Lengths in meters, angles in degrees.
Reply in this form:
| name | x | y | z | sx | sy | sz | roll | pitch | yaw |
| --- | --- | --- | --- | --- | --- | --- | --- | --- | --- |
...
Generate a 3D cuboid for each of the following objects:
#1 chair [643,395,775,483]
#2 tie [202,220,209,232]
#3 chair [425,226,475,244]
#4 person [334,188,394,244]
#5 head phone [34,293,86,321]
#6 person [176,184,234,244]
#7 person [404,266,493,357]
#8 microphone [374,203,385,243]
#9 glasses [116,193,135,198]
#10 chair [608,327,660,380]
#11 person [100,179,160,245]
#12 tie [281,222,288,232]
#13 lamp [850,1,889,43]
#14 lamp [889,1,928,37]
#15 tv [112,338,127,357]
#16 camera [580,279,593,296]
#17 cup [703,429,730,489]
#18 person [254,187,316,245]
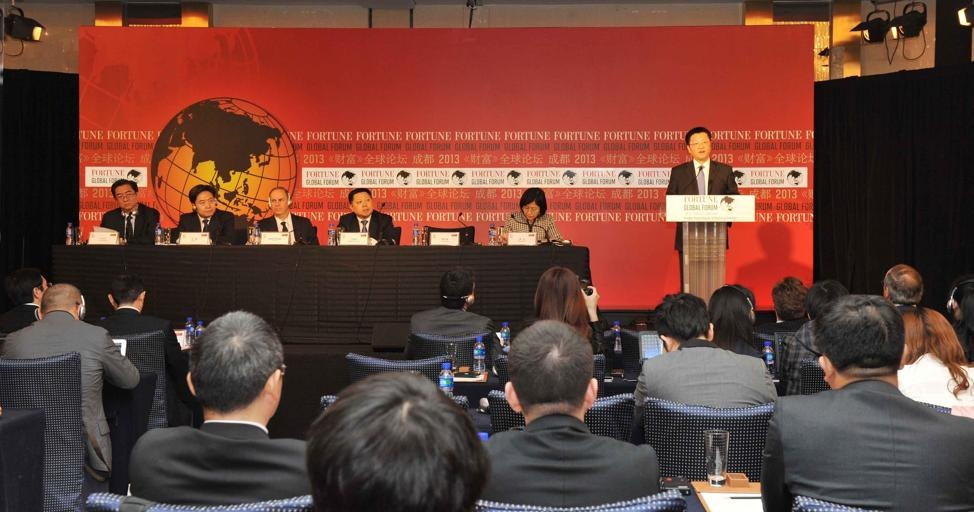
| name | x | y | z | sx | sy | sz | roll | pitch | yaw |
| --- | --- | --- | --- | --- | --- | --- | --- | --- | --- |
| chair | 2.046 | 1.771 | 8.588 | 0.936 | 1.045 | 0.902 | 2 | 1 | 6 |
| tie | -4.087 | -0.431 | 12.866 | 0.073 | 0.257 | 0.083 | 4 | -10 | -7 |
| chair | -0.485 | -0.256 | 11.816 | 0.637 | 0.270 | 0.328 | 1 | -4 | -7 |
| person | -1.698 | -0.517 | 12.955 | 0.695 | 0.525 | 1.074 | -4 | -1 | -17 |
| head phone | -4.605 | 0.619 | 9.740 | 0.431 | 0.246 | 0.538 | -4 | -8 | -16 |
| person | -3.943 | -0.572 | 12.689 | 0.864 | 0.978 | 1.059 | -2 | 0 | -24 |
| person | -0.505 | 0.665 | 10.423 | 1.066 | 0.995 | 0.623 | 3 | 9 | 11 |
| microphone | -1.592 | -0.455 | 13.089 | 0.066 | 0.699 | 0.100 | 1 | -8 | 2 |
| glasses | -5.306 | -0.875 | 13.028 | 0.233 | 0.098 | 0.072 | 2 | -4 | -21 |
| chair | 1.821 | 1.117 | 9.899 | 0.729 | 0.582 | 0.400 | 1 | -6 | 28 |
| person | -5.339 | -0.572 | 13.147 | 0.848 | 1.042 | 0.794 | -5 | 10 | -5 |
| tie | -2.916 | -0.417 | 12.805 | 0.080 | 0.125 | 0.170 | 1 | -4 | -17 |
| lamp | 6.115 | -3.696 | 14.070 | 0.722 | 0.594 | 0.667 | -1 | 6 | -3 |
| lamp | 6.579 | -3.693 | 13.795 | 0.508 | 0.609 | 0.430 | -1 | -4 | 24 |
| tv | -3.907 | 0.987 | 9.483 | 0.207 | 0.182 | 0.046 | 0 | -11 | -5 |
| camera | 1.166 | 0.383 | 10.456 | 0.180 | 0.168 | 0.094 | 2 | 11 | 20 |
| cup | 2.087 | 1.818 | 8.017 | 0.217 | 0.463 | 0.352 | -1 | -4 | 15 |
| person | -2.958 | -0.577 | 13.185 | 0.989 | 0.926 | 0.577 | -4 | -10 | -2 |
